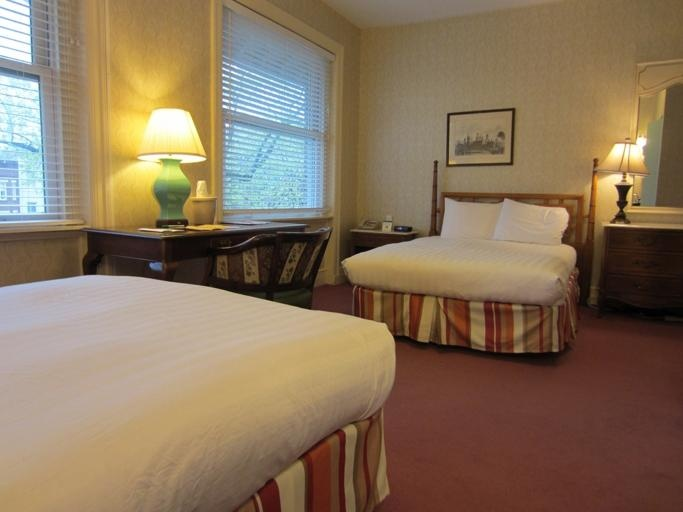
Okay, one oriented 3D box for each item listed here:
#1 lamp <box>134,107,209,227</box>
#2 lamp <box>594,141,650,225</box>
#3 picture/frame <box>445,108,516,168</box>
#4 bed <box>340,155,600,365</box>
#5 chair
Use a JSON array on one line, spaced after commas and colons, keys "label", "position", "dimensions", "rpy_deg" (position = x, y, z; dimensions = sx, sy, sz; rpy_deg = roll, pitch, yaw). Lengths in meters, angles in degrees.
[{"label": "lamp", "position": [-1.152, -0.608, 3.361], "dimensions": [0.435, 0.795, 0.437], "rpy_deg": [-5, 11, -25]}, {"label": "lamp", "position": [2.589, -0.708, 4.586], "dimensions": [0.409, 0.757, 0.565], "rpy_deg": [5, 11, 29]}, {"label": "picture/frame", "position": [1.516, -1.269, 5.287], "dimensions": [0.574, 0.540, 0.027], "rpy_deg": [5, 9, 31]}, {"label": "bed", "position": [1.227, 0.126, 4.285], "dimensions": [1.421, 1.391, 2.076], "rpy_deg": [2, 5, 25]}, {"label": "chair", "position": [-0.476, 0.010, 3.042], "dimensions": [0.538, 0.822, 0.537], "rpy_deg": [9, 10, 38]}]
